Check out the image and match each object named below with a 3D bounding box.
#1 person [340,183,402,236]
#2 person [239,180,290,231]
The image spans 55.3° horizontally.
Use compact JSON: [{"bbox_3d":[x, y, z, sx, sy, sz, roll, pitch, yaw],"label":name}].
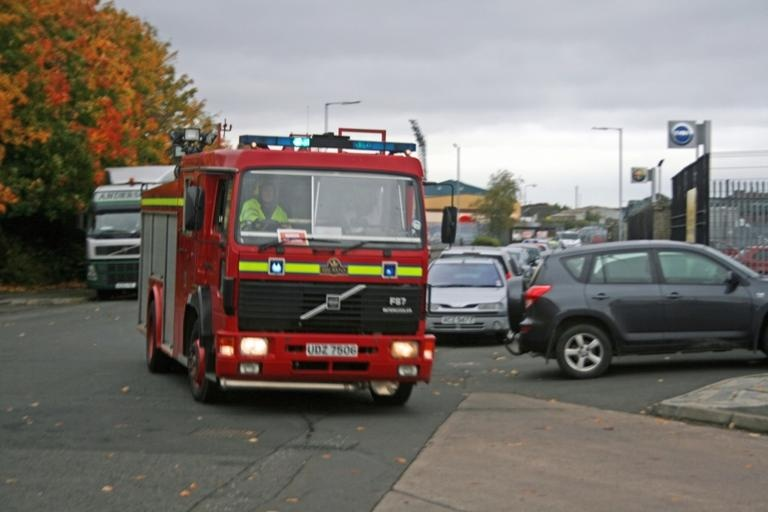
[{"bbox_3d":[-0.158,-0.638,9.983,0.778,0.736,0.185,4,-7,-11],"label":"person"},{"bbox_3d":[-1.636,-0.590,9.989,0.863,0.805,0.477,2,-11,-11],"label":"person"}]
